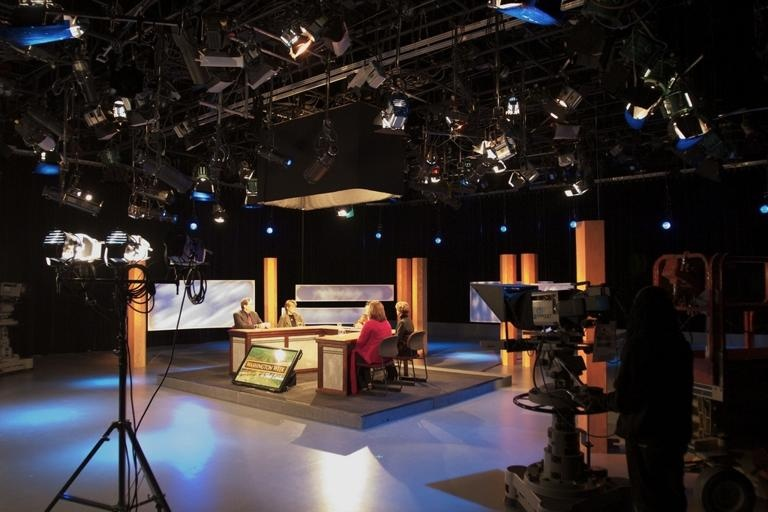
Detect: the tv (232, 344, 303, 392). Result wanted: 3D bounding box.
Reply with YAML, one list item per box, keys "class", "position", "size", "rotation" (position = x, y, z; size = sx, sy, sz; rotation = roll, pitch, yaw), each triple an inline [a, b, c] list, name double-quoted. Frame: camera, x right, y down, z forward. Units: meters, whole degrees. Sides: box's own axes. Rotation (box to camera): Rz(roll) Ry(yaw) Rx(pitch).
- class: "tv"
  position: [-1.923, 2.028, 11.320]
  size: [1.148, 0.887, 0.687]
  rotation: [1, -32, 21]

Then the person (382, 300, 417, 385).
- class: "person"
  position: [0.277, 1.596, 11.816]
  size: [0.699, 1.464, 0.545]
  rotation: [-4, -7, 38]

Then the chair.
- class: "chair"
  position: [0.178, 1.562, 11.379]
  size: [0.827, 1.141, 1.631]
  rotation: [-1, -7, 29]

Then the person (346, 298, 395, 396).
- class: "person"
  position: [-0.191, 1.538, 10.819]
  size: [0.687, 1.470, 0.682]
  rotation: [1, 5, 9]

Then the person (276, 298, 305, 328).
- class: "person"
  position: [-2.015, 1.257, 13.981]
  size: [0.284, 0.919, 0.597]
  rotation: [-12, -9, 34]
